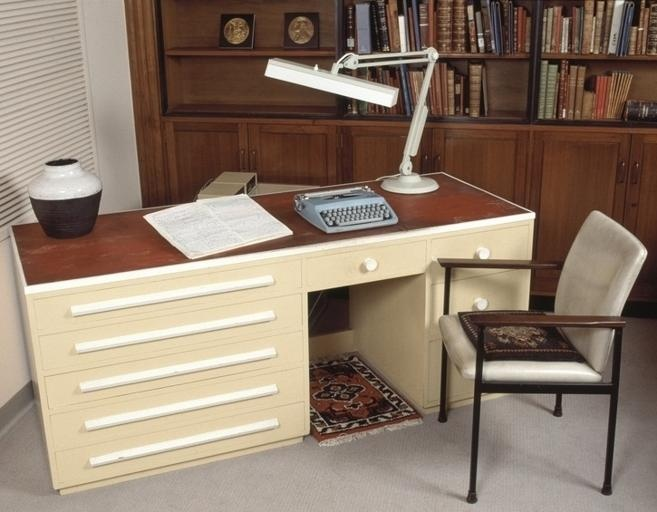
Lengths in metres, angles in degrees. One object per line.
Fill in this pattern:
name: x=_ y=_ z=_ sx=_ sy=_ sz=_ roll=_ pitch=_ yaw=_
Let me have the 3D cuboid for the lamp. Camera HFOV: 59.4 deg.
lamp: x=0.114 y=-0.622 z=2.777 sx=1.118 sy=0.706 sz=0.390 roll=-17 pitch=31 yaw=-33

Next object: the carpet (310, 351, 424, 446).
carpet: x=0.076 y=0.723 z=3.008 sx=0.566 sy=0.040 sz=0.710 roll=-12 pitch=23 yaw=-24

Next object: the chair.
chair: x=0.894 y=0.390 z=2.436 sx=0.766 sy=1.076 sz=0.736 roll=-2 pitch=25 yaw=-3

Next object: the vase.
vase: x=-1.120 y=-0.234 z=2.478 sx=0.297 sy=0.235 sz=0.253 roll=-7 pitch=17 yaw=-29

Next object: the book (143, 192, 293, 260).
book: x=-0.498 y=-0.137 z=2.540 sx=0.464 sy=0.029 sz=0.388 roll=-16 pitch=33 yaw=-30
